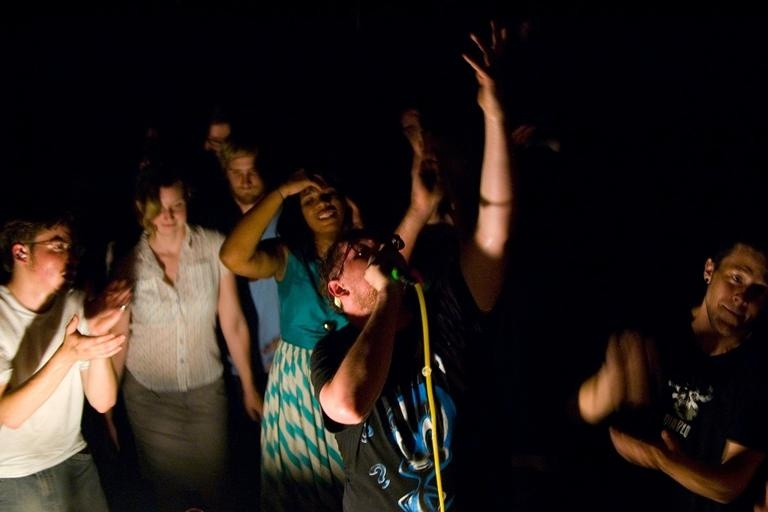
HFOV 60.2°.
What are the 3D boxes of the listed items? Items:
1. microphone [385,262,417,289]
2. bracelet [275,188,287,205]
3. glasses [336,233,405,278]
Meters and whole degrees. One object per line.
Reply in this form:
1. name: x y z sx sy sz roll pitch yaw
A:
1. microphone: 0.067 0.065 2.274 0.100 0.063 0.130 6 6 -1
2. bracelet: -0.399 -0.240 2.607 0.012 0.053 0.047 -21 22 19
3. glasses: -0.031 0.028 2.405 0.166 0.205 0.112 16 40 -49
